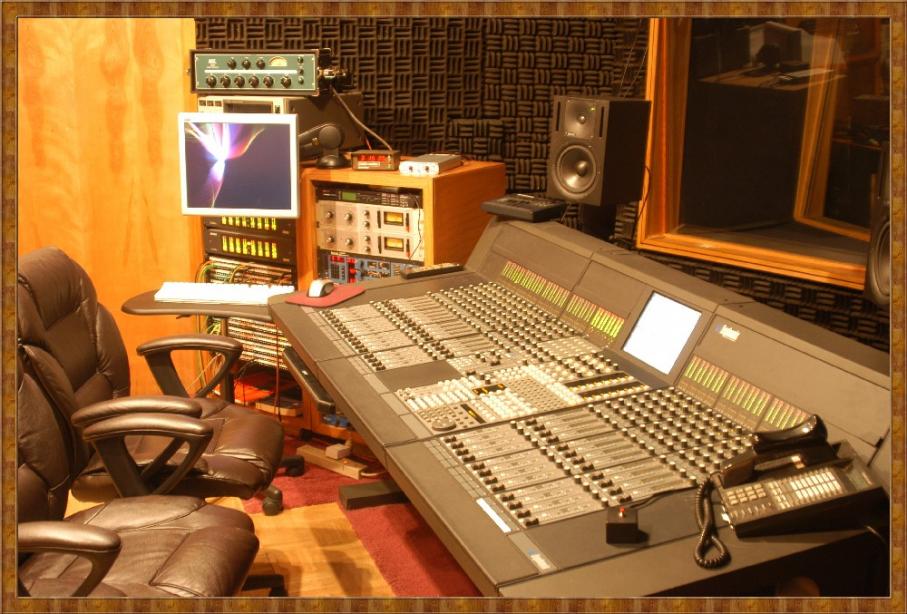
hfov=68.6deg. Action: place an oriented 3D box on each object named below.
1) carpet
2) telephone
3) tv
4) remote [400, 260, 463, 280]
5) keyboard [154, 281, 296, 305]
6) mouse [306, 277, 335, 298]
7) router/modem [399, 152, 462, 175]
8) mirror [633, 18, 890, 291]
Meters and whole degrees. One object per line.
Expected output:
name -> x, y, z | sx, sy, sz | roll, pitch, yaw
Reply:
carpet -> -0.335, 0.963, 3.211 | 0.434, 0.230, 0.998 | -9, 28, -30
telephone -> 0.917, 0.471, 1.808 | 0.447, 0.164, 0.458 | -8, 14, 39
tv -> -1.032, -0.767, 3.623 | 0.974, 0.545, 0.086 | 3, 9, 10
remote -> -0.117, -0.179, 3.254 | 0.245, 0.037, 0.118 | -9, 20, -19
keyboard -> -1.243, -0.082, 3.518 | 0.482, 0.076, 0.179 | 1, 30, -7
mouse -> -0.608, -0.080, 3.093 | 0.084, 0.039, 0.113 | 11, 30, 17
router/modem -> -0.150, -0.797, 3.733 | 0.286, 0.103, 0.354 | 7, 18, 16
mirror -> 1.679, -1.226, 4.647 | 1.894, 1.554, 1.005 | -7, 15, -25
